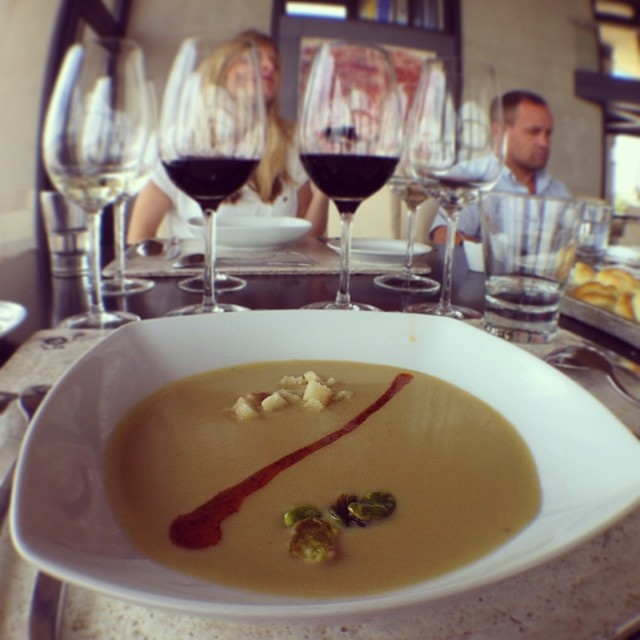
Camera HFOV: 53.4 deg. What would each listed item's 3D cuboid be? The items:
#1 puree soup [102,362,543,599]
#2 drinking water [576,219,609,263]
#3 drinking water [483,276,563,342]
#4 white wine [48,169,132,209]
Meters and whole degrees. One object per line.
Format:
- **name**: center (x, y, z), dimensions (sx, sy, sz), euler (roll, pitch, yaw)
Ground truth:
- **puree soup**: center (0.002, 0.072, 0.371), dimensions (0.240, 0.034, 0.237), euler (-4, 13, -22)
- **drinking water**: center (0.472, -0.138, 1.128), dimensions (0.057, 0.081, 0.051), euler (5, -6, -12)
- **drinking water**: center (0.208, -0.017, 0.669), dimensions (0.094, 0.073, 0.103), euler (8, 8, 19)
- **white wine**: center (-0.246, -0.140, 0.691), dimensions (0.058, 0.046, 0.067), euler (-1, 13, -1)
